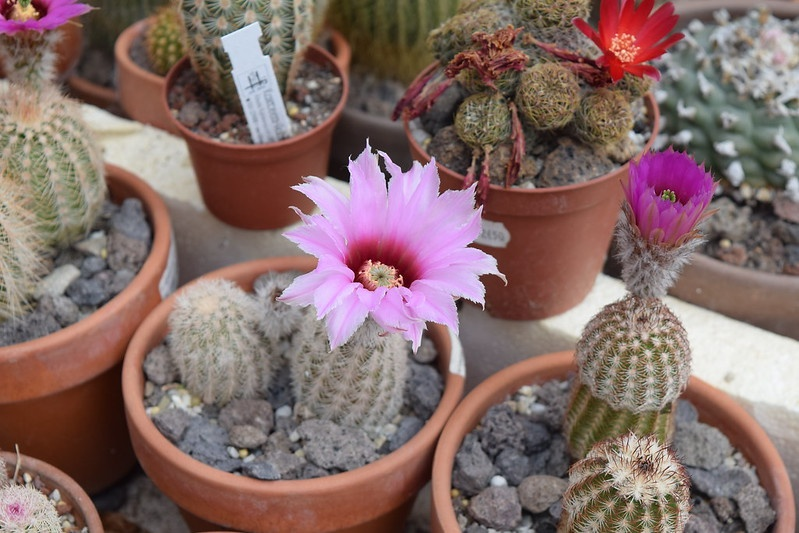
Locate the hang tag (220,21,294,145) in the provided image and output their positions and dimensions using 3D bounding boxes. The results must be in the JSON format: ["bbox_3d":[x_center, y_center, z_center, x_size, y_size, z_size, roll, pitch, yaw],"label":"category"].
[{"bbox_3d":[-0.297,-0.393,1.505,0.108,0.253,0.117,30,50,24],"label":"hang tag"}]

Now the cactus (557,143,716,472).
[{"bbox_3d":[0.456,0.105,1.290,0.240,0.557,0.324,-6,45,-9],"label":"cactus"}]
